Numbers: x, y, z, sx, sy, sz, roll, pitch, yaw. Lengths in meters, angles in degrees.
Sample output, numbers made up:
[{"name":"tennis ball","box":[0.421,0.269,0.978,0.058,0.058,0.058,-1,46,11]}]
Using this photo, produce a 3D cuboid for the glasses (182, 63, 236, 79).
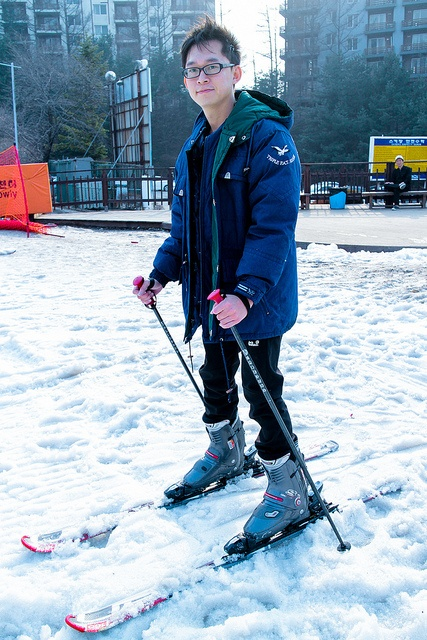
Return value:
[{"name":"glasses","box":[-0.018,-0.911,2.026,0.187,0.053,0.085,-2,12,0]}]

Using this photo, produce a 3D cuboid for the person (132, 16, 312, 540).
[{"name":"person","box":[0.047,-0.176,2.171,0.529,1.924,0.707,-10,14,-30]}]

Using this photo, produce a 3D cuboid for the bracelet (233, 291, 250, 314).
[{"name":"bracelet","box":[0.099,-0.054,1.826,0.015,0.057,0.057,-44,36,-1]}]

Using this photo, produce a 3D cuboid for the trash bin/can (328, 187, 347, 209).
[{"name":"trash bin/can","box":[4.116,-4.044,18.328,0.723,0.711,0.684,0,-7,2]}]

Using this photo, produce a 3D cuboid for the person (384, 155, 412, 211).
[{"name":"person","box":[5.580,-4.115,16.639,0.642,1.566,1.238,-3,12,1]}]
